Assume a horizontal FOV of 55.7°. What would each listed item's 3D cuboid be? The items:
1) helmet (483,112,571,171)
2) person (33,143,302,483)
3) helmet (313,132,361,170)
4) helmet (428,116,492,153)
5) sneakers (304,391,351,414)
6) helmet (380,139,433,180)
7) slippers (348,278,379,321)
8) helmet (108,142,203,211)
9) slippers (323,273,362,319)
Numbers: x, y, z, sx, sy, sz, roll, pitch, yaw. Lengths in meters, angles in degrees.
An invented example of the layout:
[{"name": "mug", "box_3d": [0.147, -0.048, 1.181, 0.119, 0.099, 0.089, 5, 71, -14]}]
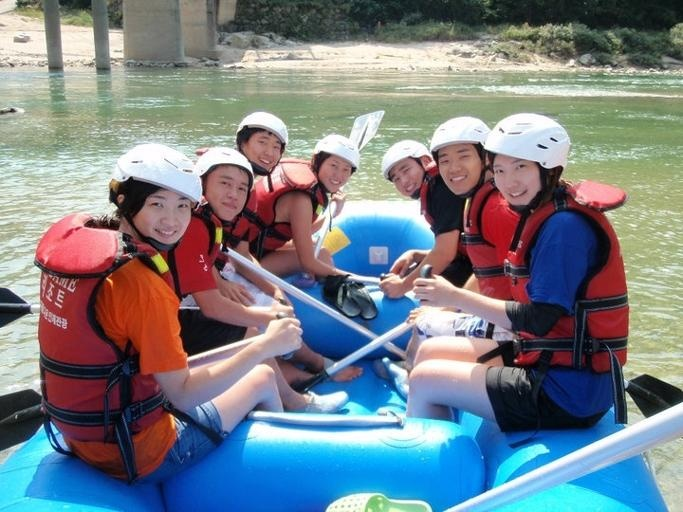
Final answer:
[{"name": "helmet", "box_3d": [0.845, -0.528, 2.893, 0.343, 0.189, 0.247, -11, 27, -19]}, {"name": "person", "box_3d": [-0.739, 0.240, 2.608, 0.917, 1.305, 0.478, -6, 20, -25]}, {"name": "helmet", "box_3d": [-0.033, -0.725, 4.560, 0.233, 0.289, 0.221, 13, 8, -11]}, {"name": "helmet", "box_3d": [0.734, -0.742, 3.800, 0.229, 0.118, 0.329, -13, -6, 36]}, {"name": "sneakers", "box_3d": [-0.081, 0.806, 3.542, 0.183, 0.106, 0.059, -13, 52, -12]}, {"name": "helmet", "box_3d": [0.486, -0.672, 4.678, 0.332, 0.260, 0.262, 36, 25, -24]}, {"name": "slippers", "box_3d": [0.136, 0.290, 4.326, 0.118, 0.076, 0.280, -2, 57, -16]}, {"name": "helmet", "box_3d": [-0.729, -0.306, 2.631, 0.302, 0.213, 0.238, 25, 2, 24]}, {"name": "slippers", "box_3d": [0.012, 0.252, 4.293, 0.142, 0.155, 0.405, -25, 40, -32]}]
